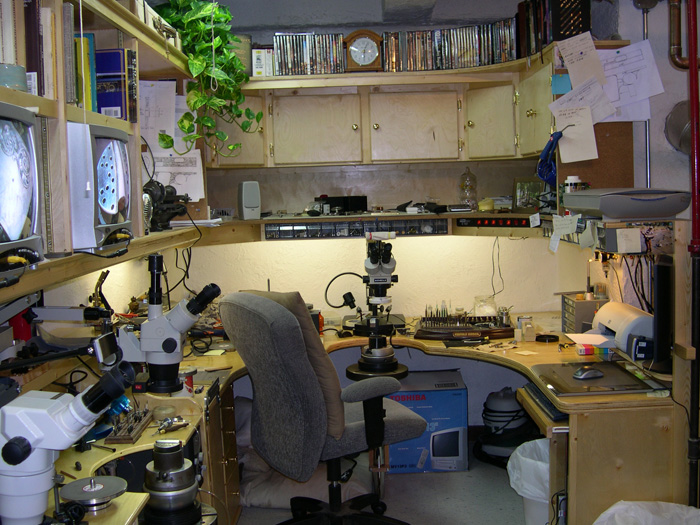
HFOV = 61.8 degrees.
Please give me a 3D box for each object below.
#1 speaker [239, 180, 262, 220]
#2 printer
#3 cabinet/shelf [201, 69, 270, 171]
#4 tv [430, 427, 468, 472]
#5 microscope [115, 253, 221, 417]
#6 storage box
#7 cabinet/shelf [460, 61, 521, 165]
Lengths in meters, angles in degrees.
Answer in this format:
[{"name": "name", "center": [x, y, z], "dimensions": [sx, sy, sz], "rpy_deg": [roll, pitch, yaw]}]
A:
[{"name": "speaker", "center": [-0.683, -0.419, 3.968], "dimensions": [0.133, 0.267, 0.109], "rpy_deg": [-4, 6, -14]}, {"name": "printer", "center": [1.294, 0.307, 2.998], "dimensions": [0.271, 0.246, 0.401], "rpy_deg": [3, 6, -4]}, {"name": "cabinet/shelf", "center": [-0.716, -0.894, 3.830], "dimensions": [0.408, 0.494, 0.278], "rpy_deg": [-2, 7, -21]}, {"name": "tv", "center": [0.644, 1.221, 3.863], "dimensions": [0.286, 0.285, 0.160], "rpy_deg": [0, 4, 4]}, {"name": "microscope", "center": [-0.762, 0.254, 2.449], "dimensions": [0.430, 0.553, 0.160], "rpy_deg": [2, 11, -1]}, {"name": "storage box", "center": [0.501, 1.034, 4.047], "dimensions": [0.597, 0.634, 0.550], "rpy_deg": [2, 6, -11]}, {"name": "cabinet/shelf", "center": [0.926, -0.950, 3.866], "dimensions": [0.450, 0.722, 0.462], "rpy_deg": [-1, 1, 3]}]
